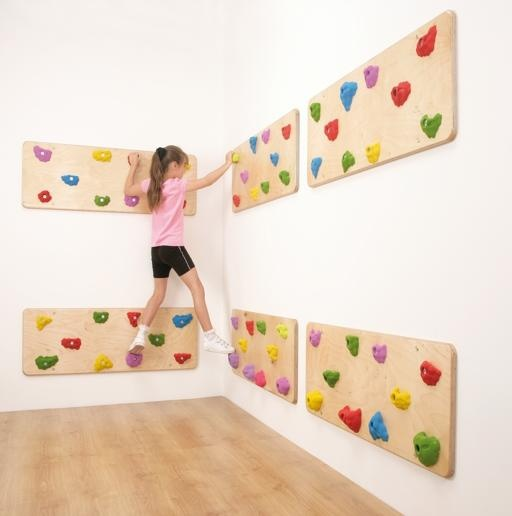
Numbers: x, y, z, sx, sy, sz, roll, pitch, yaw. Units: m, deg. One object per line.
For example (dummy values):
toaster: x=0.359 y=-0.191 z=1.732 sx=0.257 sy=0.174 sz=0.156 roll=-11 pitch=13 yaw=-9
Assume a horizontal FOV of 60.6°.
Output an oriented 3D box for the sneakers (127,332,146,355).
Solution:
sneakers: x=-0.598 y=0.432 z=2.207 sx=0.089 sy=0.129 sz=0.196 roll=1 pitch=-4 yaw=-16

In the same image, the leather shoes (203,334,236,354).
leather shoes: x=-0.184 y=0.418 z=2.126 sx=0.174 sy=0.137 sz=0.069 roll=1 pitch=4 yaw=14

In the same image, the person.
person: x=-0.397 y=-0.079 z=2.222 sx=0.558 sy=1.083 sz=0.339 roll=0 pitch=-3 yaw=-2
